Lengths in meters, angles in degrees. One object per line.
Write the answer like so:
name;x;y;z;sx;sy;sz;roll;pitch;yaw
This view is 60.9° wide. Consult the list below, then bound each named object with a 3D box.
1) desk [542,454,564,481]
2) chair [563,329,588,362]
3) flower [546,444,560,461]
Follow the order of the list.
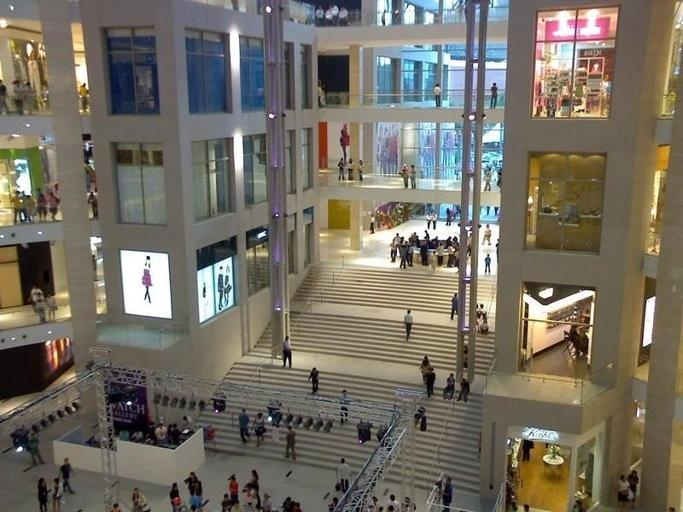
desk;8.917;8.750;24.298;0.830;0.580;1.028;5;14;22
chair;9.467;3.588;23.441;0.565;1.152;0.847;-4;9;-39
flower;9.009;8.287;24.810;0.433;0.536;0.506;-10;14;-40
